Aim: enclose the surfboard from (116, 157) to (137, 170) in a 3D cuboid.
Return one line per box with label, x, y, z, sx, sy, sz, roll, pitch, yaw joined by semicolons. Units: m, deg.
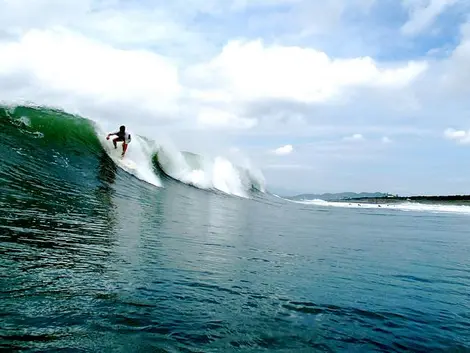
surfboard;-5.345;-0.652;16.247;0.973;0.527;1.198;7;6;-10
